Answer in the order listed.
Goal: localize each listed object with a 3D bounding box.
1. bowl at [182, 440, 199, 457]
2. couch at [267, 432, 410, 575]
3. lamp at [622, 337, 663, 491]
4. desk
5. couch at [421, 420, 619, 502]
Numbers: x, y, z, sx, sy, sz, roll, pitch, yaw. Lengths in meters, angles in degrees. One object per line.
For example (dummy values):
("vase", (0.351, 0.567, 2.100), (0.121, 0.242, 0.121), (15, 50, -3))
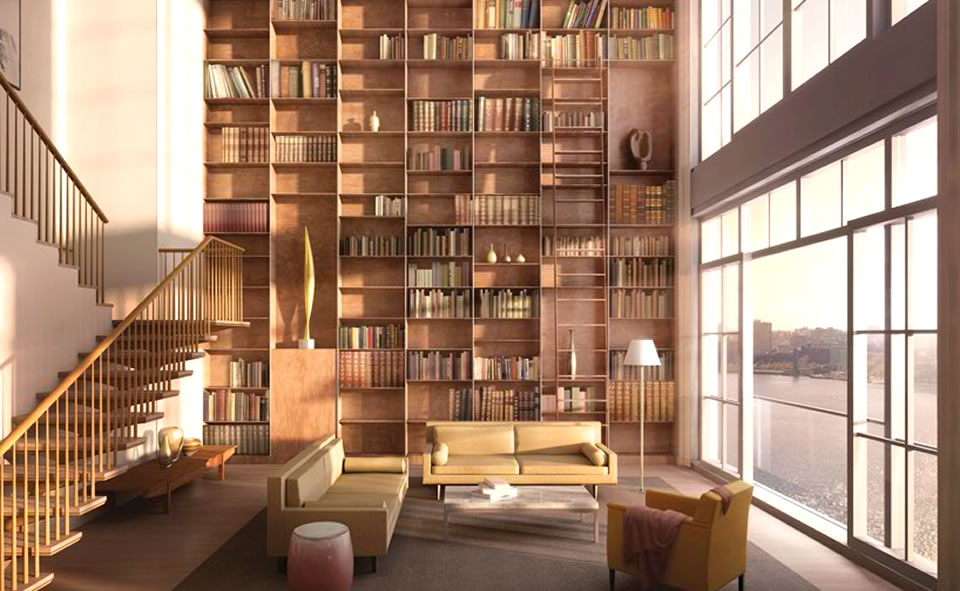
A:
("bowl", (-4.232, 2.230, 11.977), (0.215, 0.148, 0.212), (0, 0, 0))
("couch", (-1.770, 2.660, 11.018), (1.463, 1.046, 3.186), (2, -1, -3))
("lamp", (2.378, 1.626, 12.155), (0.592, 2.558, 0.431), (1, 4, -1))
("desk", (-4.131, 2.609, 11.362), (1.501, 0.621, 1.873), (1, 8, 3))
("couch", (0.527, 2.375, 11.753), (2.679, 1.249, 1.258), (1, -15, -4))
